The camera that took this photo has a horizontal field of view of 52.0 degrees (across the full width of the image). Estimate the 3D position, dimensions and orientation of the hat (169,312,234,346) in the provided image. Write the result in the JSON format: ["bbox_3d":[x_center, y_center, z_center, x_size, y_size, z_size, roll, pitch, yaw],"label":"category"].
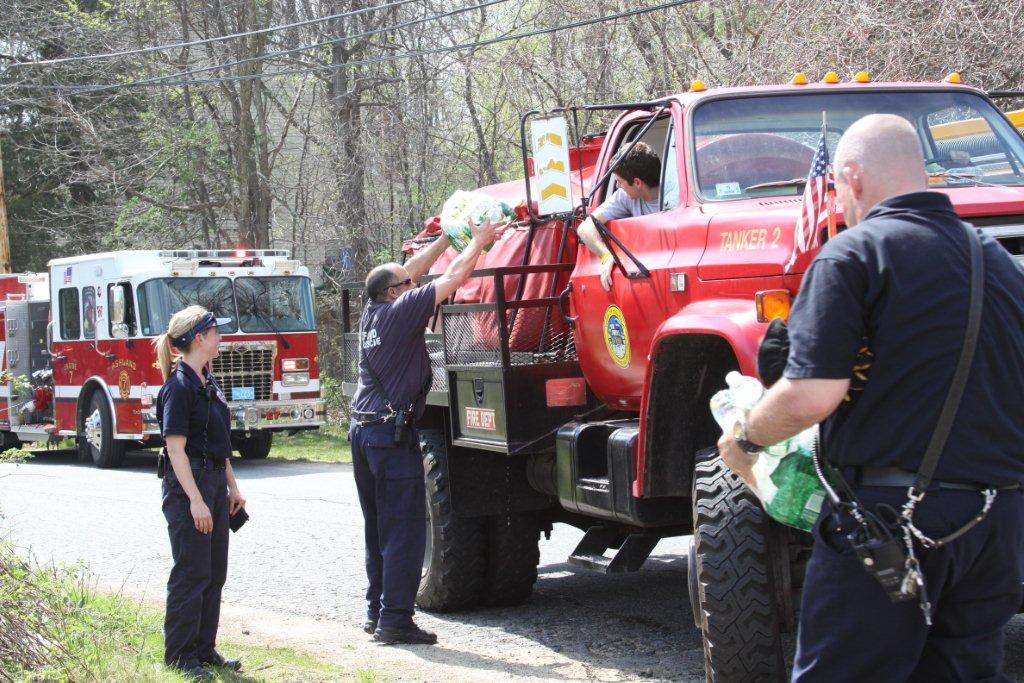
[{"bbox_3d":[-2.653,-0.102,8.998,0.569,0.164,0.341,-28,19,-21],"label":"hat"}]

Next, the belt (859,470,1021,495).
[{"bbox_3d":[1.532,0.517,3.906,0.357,0.083,0.199,3,-5,20],"label":"belt"}]

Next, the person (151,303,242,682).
[{"bbox_3d":[-2.028,0.928,6.790,0.492,2.294,0.683,1,-1,-23],"label":"person"}]

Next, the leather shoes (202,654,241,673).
[{"bbox_3d":[-1.849,2.065,6.747,0.255,0.112,0.089,0,-1,23],"label":"leather shoes"}]
